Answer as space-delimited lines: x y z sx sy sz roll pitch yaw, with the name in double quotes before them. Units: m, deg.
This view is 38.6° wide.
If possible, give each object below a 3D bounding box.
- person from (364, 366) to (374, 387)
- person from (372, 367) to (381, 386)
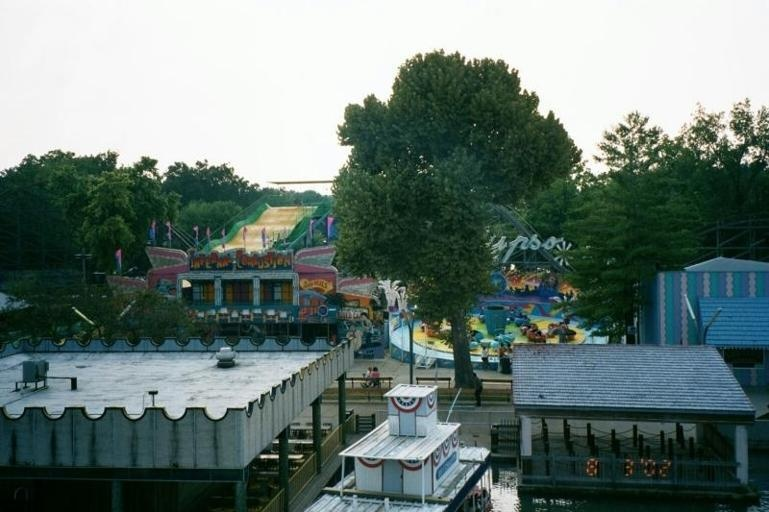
"person" -1.131 9.409 84.317 0.463 0.819 1.233 1 1 7
"person" -0.627 9.311 83.773 0.426 0.779 1.160 0 -1 9
